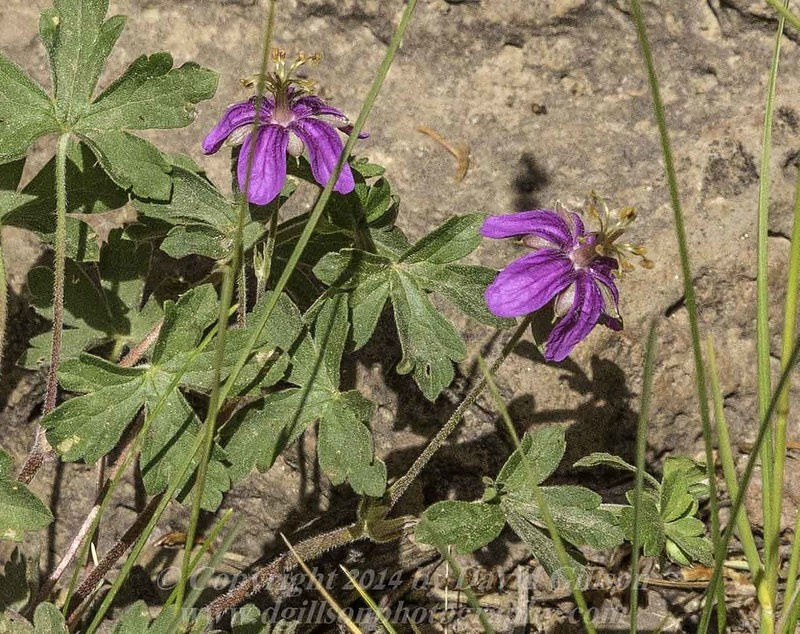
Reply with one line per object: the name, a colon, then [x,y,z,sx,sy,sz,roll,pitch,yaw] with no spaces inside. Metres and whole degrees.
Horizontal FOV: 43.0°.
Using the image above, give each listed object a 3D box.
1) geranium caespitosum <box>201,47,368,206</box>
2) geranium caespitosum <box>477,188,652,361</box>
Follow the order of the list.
geranium caespitosum: [-0.447,-0.740,3.768,0.635,0.431,0.671,23,23,20]
geranium caespitosum: [0.515,-0.158,3.612,0.518,0.436,0.625,14,54,-31]
